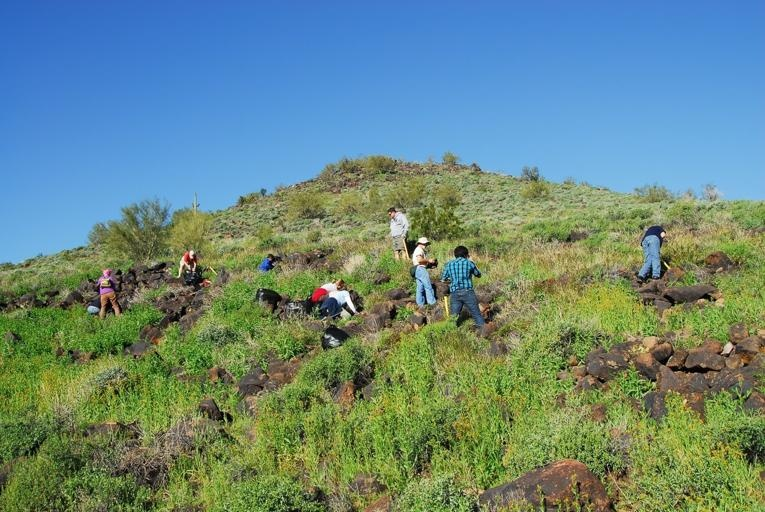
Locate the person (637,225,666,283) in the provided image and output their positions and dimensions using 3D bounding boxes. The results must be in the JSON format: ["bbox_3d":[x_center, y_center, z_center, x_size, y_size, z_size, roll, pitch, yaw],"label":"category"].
[{"bbox_3d":[7.305,-0.085,13.848,0.747,1.731,1.135,-10,-17,33],"label":"person"}]

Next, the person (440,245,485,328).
[{"bbox_3d":[1.991,0.852,12.430,0.897,2.412,0.702,-2,24,10],"label":"person"}]

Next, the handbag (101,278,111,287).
[{"bbox_3d":[-9.869,0.993,18.133,0.338,0.366,0.269,0,-6,-2],"label":"handbag"}]

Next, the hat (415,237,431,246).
[{"bbox_3d":[1.339,-0.468,16.972,0.472,0.251,0.688,0,-11,6],"label":"hat"}]

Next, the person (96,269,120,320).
[{"bbox_3d":[-9.803,1.337,18.210,0.674,1.904,1.163,12,-19,-40],"label":"person"}]

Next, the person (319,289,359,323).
[{"bbox_3d":[-1.224,1.375,14.331,1.177,0.684,1.649,-7,9,10],"label":"person"}]

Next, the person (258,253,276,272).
[{"bbox_3d":[-4.210,0.286,18.482,0.600,0.760,0.632,4,-16,-18],"label":"person"}]

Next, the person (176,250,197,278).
[{"bbox_3d":[-8.108,0.375,20.932,0.687,0.846,1.391,-7,-28,-34],"label":"person"}]
